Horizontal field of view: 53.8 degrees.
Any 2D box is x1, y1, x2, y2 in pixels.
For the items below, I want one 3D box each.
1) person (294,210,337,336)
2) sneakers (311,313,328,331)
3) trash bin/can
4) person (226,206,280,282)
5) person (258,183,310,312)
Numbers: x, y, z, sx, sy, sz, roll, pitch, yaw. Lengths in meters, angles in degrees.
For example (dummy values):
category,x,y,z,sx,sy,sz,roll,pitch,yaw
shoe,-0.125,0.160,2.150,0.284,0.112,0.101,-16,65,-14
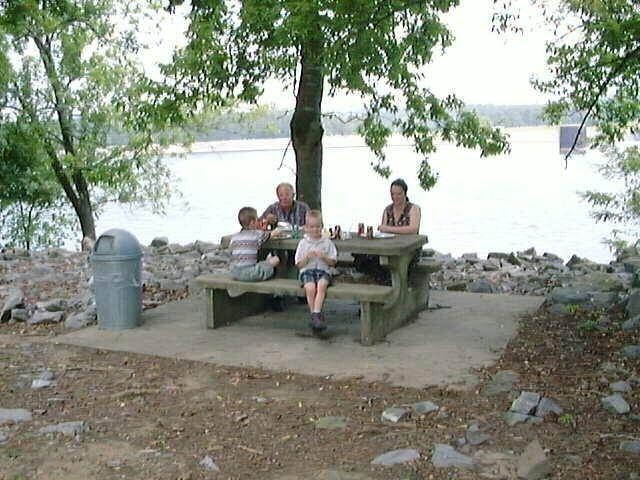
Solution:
category,x,y,z,sx,sy,sz,roll,pitch,yaw
person,-0.063,0.369,7.506,0.478,1.359,0.677,1,13,11
sneakers,-0.024,0.961,7.354,0.157,0.213,0.163,-2,13,-2
trash bin/can,-2.557,0.505,8.013,0.616,1.272,0.647,4,6,5
person,-0.820,0.106,7.871,0.712,1.044,0.613,7,13,31
person,-0.388,0.073,8.929,0.790,1.731,0.726,-18,14,-38
